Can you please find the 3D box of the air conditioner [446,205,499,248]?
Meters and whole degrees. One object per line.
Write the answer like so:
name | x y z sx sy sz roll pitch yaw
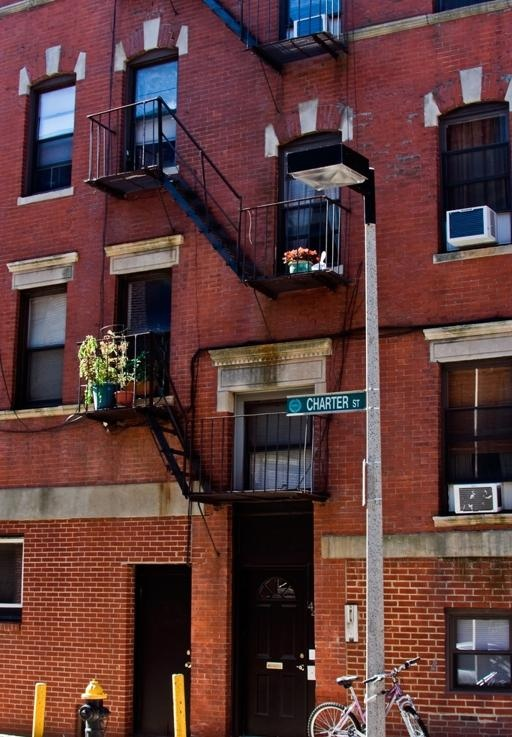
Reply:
air conditioner | 2.511 -1.657 14.860 0.630 0.565 0.407 -9 -18 33

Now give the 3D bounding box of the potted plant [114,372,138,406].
potted plant | -1.714 0.321 16.796 0.343 0.434 0.368 5 -11 -17

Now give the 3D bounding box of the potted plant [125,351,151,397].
potted plant | -1.625 0.101 17.037 0.412 0.707 0.600 0 -6 2

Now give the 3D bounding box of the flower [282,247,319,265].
flower | 0.583 -1.385 15.710 0.249 0.131 0.303 -3 -10 25
